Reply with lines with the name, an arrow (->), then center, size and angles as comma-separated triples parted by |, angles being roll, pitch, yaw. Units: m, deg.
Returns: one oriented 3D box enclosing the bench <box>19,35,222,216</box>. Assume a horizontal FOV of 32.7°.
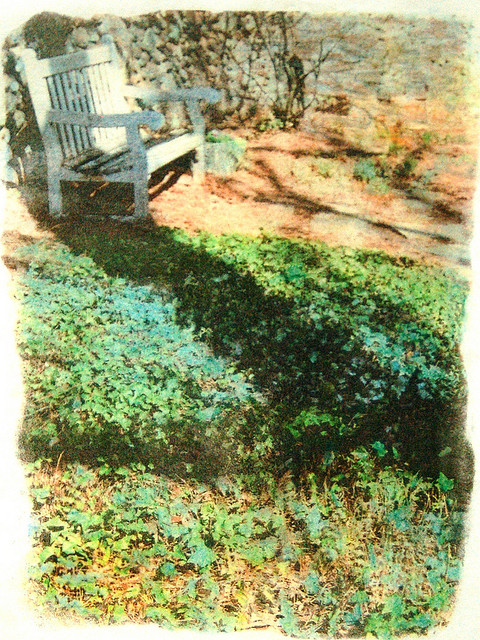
bench -> -0.675, -1.094, 5.040 | 0.732, 0.714, 0.739 | 6, 26, 29
